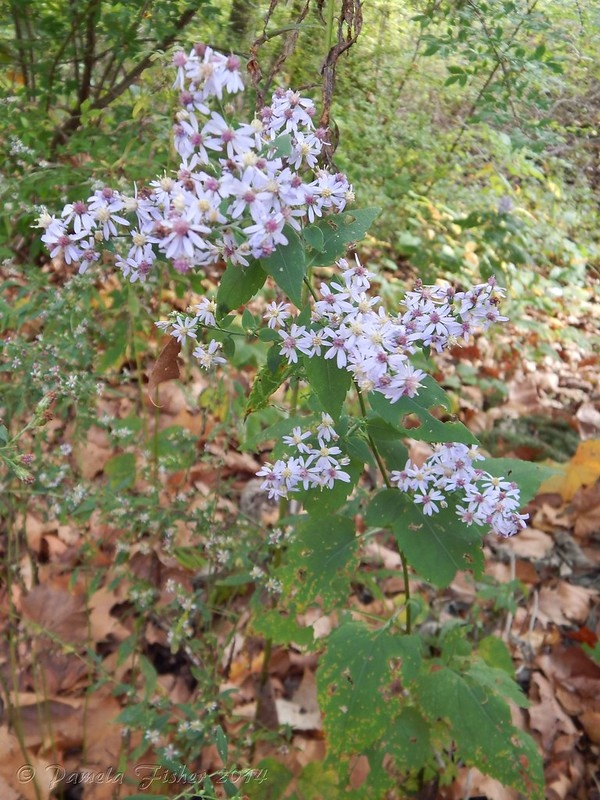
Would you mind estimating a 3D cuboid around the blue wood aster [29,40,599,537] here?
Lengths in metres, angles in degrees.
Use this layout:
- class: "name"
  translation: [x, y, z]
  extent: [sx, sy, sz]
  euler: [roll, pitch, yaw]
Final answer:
- class: "blue wood aster"
  translation: [0.014, -0.077, 1.805]
  extent: [1.261, 0.405, 0.857]
  euler: [49, 64, -11]
